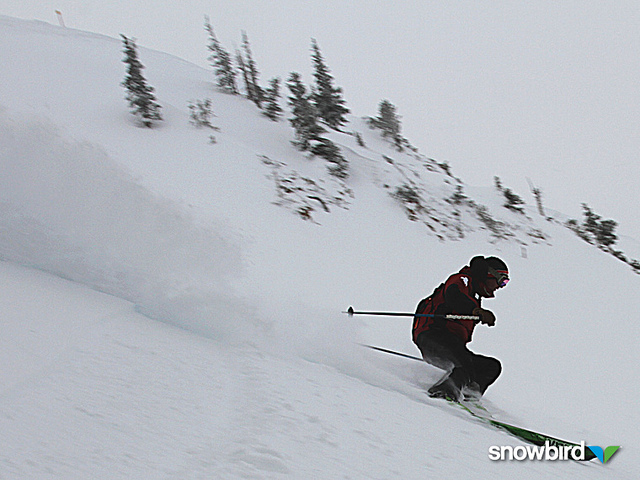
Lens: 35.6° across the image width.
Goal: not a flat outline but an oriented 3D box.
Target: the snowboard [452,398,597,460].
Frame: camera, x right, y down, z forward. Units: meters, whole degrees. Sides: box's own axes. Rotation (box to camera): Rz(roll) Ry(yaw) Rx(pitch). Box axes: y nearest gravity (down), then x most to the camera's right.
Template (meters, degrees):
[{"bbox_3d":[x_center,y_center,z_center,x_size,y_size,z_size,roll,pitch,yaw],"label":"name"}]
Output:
[{"bbox_3d":[4.290,4.102,21.458,3.870,0.358,0.300,15,24,18],"label":"snowboard"}]
